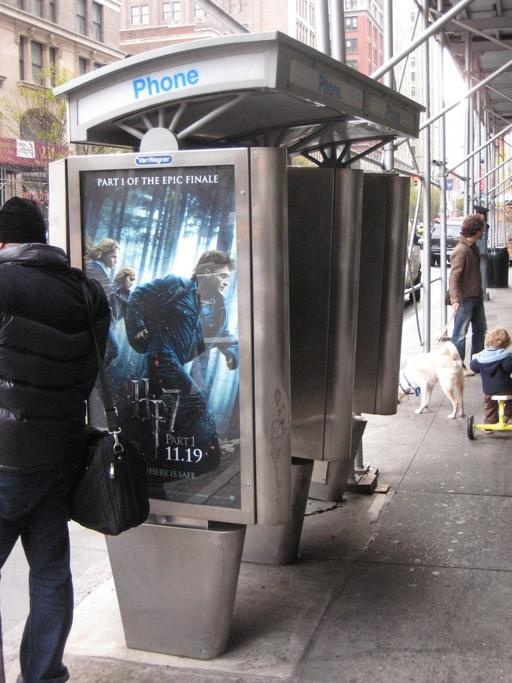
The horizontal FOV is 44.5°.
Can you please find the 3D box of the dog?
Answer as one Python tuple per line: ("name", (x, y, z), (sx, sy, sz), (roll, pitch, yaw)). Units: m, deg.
("dog", (2.111, 0.433, 7.353), (0.424, 0.853, 0.772), (-5, 5, -25))
